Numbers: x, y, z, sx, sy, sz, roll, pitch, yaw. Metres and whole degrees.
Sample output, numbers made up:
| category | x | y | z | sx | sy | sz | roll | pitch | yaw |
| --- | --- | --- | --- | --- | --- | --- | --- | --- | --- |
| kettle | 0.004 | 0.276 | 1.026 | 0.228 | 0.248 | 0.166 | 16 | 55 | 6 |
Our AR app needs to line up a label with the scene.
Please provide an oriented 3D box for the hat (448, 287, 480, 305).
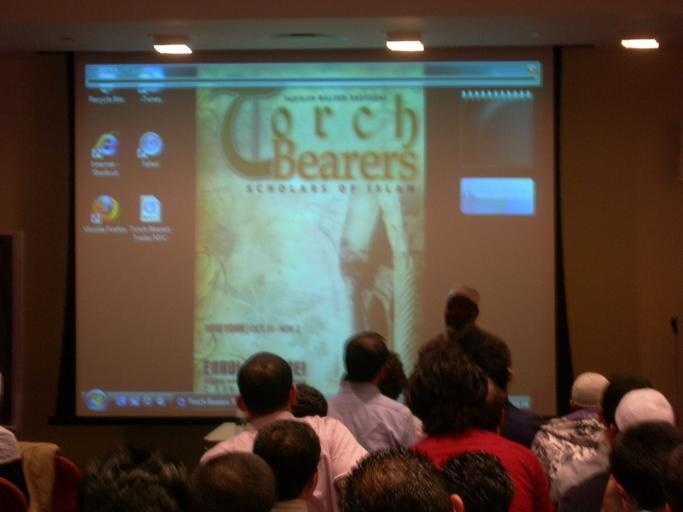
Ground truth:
| category | x | y | z | sx | sy | sz | roll | pitch | yaw |
| --- | --- | --- | --- | --- | --- | --- | --- | --- | --- |
| hat | 0.896 | 0.257 | 4.584 | 0.148 | 0.119 | 0.178 | 2 | 0 | 4 |

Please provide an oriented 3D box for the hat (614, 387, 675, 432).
| category | x | y | z | sx | sy | sz | roll | pitch | yaw |
| --- | --- | --- | --- | --- | --- | --- | --- | --- | --- |
| hat | 1.121 | 0.577 | 2.374 | 0.124 | 0.154 | 0.155 | 3 | 16 | 11 |

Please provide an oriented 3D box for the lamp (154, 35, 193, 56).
| category | x | y | z | sx | sy | sz | roll | pitch | yaw |
| --- | --- | --- | --- | --- | --- | --- | --- | --- | --- |
| lamp | -1.326 | -1.645 | 4.969 | 0.296 | 0.082 | 0.307 | 0 | 0 | -5 |

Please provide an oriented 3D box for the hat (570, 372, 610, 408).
| category | x | y | z | sx | sy | sz | roll | pitch | yaw |
| --- | --- | --- | --- | --- | --- | --- | --- | --- | --- |
| hat | 1.228 | 0.671 | 3.129 | 0.163 | 0.163 | 0.161 | 0 | -1 | 12 |

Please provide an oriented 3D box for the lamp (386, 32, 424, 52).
| category | x | y | z | sx | sy | sz | roll | pitch | yaw |
| --- | --- | --- | --- | --- | --- | --- | --- | --- | --- |
| lamp | 0.495 | -1.630 | 4.866 | 0.303 | 0.079 | 0.291 | 0 | 0 | 5 |
